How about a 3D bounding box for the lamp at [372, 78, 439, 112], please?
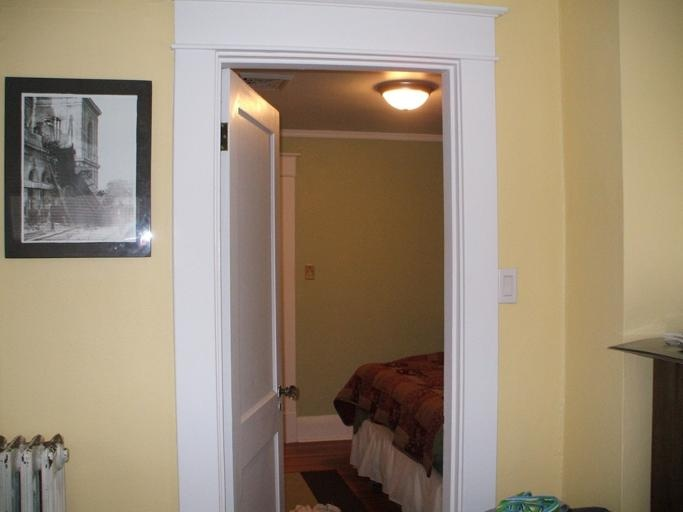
[{"bbox_3d":[0.385,-1.030,3.995,0.221,0.088,0.220,-4,3,-42],"label":"lamp"}]
